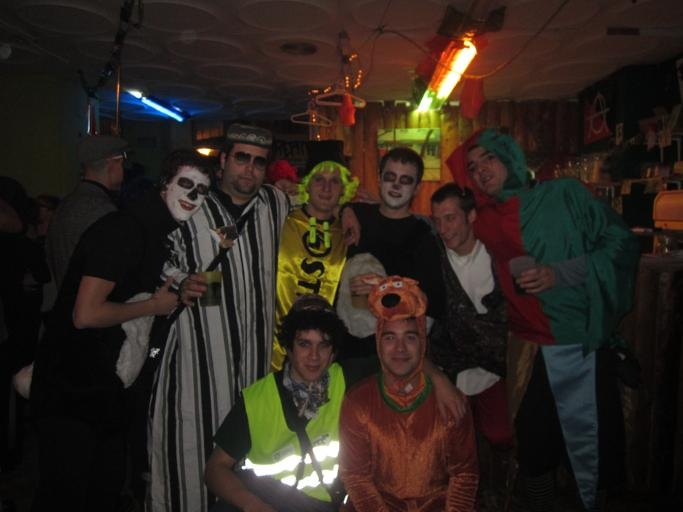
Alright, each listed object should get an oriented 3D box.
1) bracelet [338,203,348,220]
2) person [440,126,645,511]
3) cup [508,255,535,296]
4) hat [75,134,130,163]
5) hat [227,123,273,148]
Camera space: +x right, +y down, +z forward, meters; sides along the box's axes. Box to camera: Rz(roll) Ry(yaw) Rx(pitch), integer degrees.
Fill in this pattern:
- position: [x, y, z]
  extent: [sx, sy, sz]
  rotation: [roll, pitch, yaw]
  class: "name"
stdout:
- position: [0.001, -0.396, 5.170]
  extent: [0.087, 0.104, 0.112]
  rotation: [6, -13, 4]
  class: "bracelet"
- position: [1.721, 0.545, 4.980]
  extent: [1.337, 3.244, 0.624]
  rotation: [3, 4, 23]
  class: "person"
- position: [1.456, 0.156, 4.782]
  extent: [0.259, 0.407, 0.223]
  rotation: [-5, 33, 13]
  class: "cup"
- position: [-2.140, -0.967, 5.385]
  extent: [0.293, 0.131, 0.346]
  rotation: [-1, 11, 6]
  class: "hat"
- position: [-0.758, -0.983, 4.853]
  extent: [0.251, 0.096, 0.256]
  rotation: [19, 9, 27]
  class: "hat"
